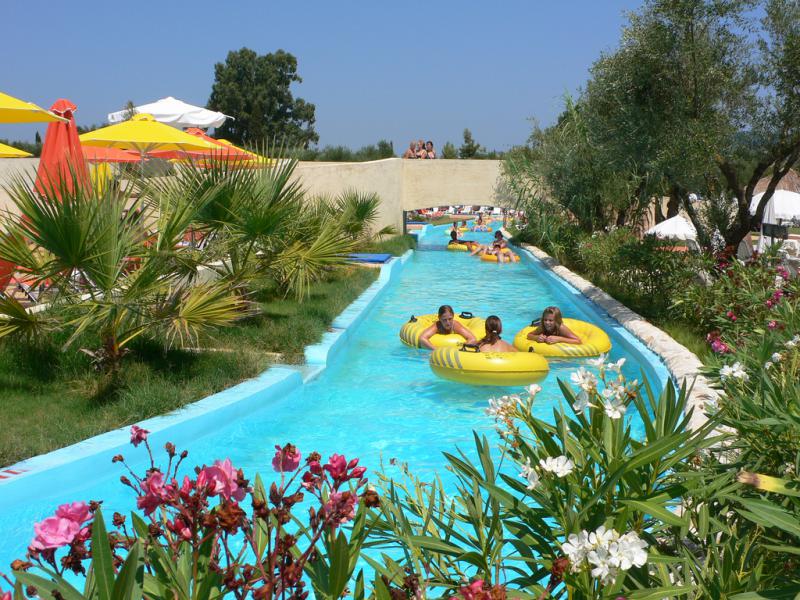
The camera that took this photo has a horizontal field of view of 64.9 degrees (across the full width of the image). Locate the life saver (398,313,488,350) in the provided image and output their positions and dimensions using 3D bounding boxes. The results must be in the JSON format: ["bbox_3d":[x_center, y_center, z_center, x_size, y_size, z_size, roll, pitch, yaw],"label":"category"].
[{"bbox_3d":[0.715,0.491,10.582,1.340,0.567,1.145,-3,5,-11],"label":"life saver"}]
